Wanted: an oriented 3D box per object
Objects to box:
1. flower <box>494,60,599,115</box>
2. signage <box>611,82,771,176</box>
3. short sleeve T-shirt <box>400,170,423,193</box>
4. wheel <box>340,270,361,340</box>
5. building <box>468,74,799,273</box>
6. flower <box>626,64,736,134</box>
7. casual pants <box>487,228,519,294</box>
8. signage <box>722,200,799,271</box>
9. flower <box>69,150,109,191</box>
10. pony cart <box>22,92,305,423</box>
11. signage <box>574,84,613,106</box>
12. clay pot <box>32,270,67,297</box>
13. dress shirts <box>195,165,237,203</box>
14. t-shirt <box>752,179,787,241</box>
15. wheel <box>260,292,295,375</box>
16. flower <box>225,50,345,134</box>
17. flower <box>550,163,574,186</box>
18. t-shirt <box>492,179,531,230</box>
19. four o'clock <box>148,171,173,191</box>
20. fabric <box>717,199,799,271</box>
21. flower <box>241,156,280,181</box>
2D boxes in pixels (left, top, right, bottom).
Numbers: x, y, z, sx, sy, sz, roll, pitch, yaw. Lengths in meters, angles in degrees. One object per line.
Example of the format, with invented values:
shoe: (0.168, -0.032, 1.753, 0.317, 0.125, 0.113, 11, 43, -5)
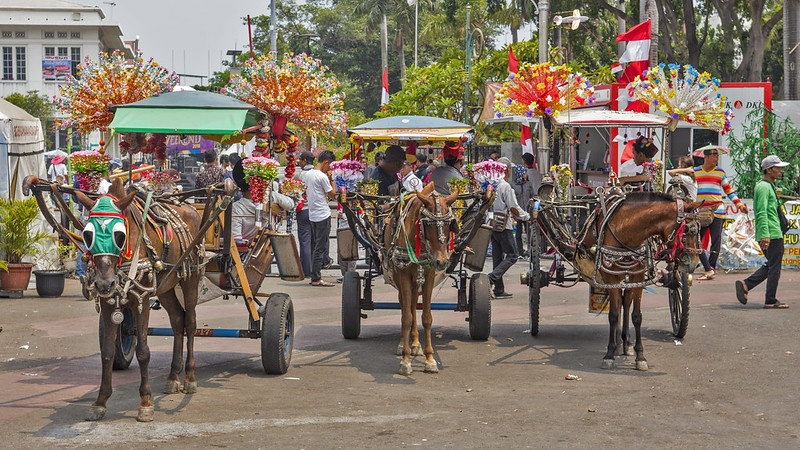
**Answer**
flower: (3.261, -3.152, 25.551, 1.793, 0.864, 1.552, -6, 22, -7)
signage: (9.256, -2.431, 34.365, 2.816, 1.140, 2.800, 22, -20, -36)
short sleeve T-shirt: (0.241, -0.892, 23.142, 0.385, 0.344, 0.565, -16, 12, -11)
wheel: (-1.068, 1.800, 24.112, 0.634, 1.617, 1.613, 2, 3, -1)
building: (5.953, -1.172, 27.114, 4.106, 3.931, 6.622, 2, 2, 10)
flower: (6.678, -3.192, 26.046, 2.011, 1.088, 2.082, 17, -3, 6)
casual pants: (2.534, 0.745, 27.060, 0.830, 1.820, 0.644, -2, -7, 25)
signage: (9.336, 0.252, 28.653, 2.571, 1.411, 0.116, 0, 3, 1)
flower: (-6.213, -1.085, 22.220, 0.974, 0.772, 0.869, 2, 4, 20)
pony cart: (-4.959, 0.594, 21.772, 5.013, 5.173, 5.356, -3, -2, 9)
signage: (5.835, -4.016, 32.724, 0.774, 0.577, 1.011, 0, -1, -25)
clay pot: (-8.640, 1.433, 27.048, 0.817, 0.479, 0.723, 1, 3, 8)
dress shirts: (-3.789, -0.824, 22.612, 1.149, 0.955, 0.601, 0, -2, -11)
t-shirt: (8.771, -0.415, 26.433, 0.870, 1.372, 1.332, -1, 5, 8)
wheel: (-2.474, 2.236, 22.200, 0.626, 1.276, 1.238, 1, 36, 6)
flower: (-2.611, -3.129, 23.779, 2.203, 1.161, 2.055, 15, -9, 41)
flower: (3.670, -1.123, 24.653, 0.565, 0.425, 0.502, 2, 6, 10)
t-shirt: (2.722, -0.488, 27.009, 0.875, 1.744, 0.551, 28, 64, 34)
four o'clock: (-4.902, -0.882, 22.554, 0.507, 0.279, 0.444, 2, -4, -2)
fabric: (9.279, 0.244, 28.673, 2.564, 1.420, 0.110, 0, 4, 2)
flower: (-2.800, -1.133, 22.147, 0.597, 0.281, 0.526, 2, 1, 3)
